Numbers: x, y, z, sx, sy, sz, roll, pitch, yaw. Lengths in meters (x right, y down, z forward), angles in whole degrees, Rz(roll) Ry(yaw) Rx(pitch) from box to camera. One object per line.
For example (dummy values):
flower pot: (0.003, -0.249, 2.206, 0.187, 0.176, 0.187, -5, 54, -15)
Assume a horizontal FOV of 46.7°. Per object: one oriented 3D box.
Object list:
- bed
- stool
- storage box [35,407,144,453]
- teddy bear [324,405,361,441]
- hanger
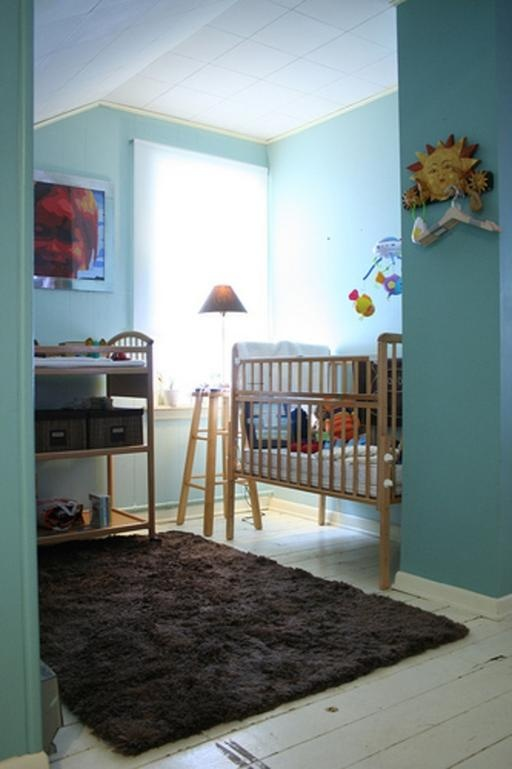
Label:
bed: (0.234, 0.231, 2.720, 0.698, 1.054, 1.077, 0, -1, -26)
stool: (-0.279, 0.411, 3.297, 0.417, 0.737, 0.412, 4, 0, -20)
storage box: (-0.772, 0.211, 2.730, 0.228, 0.121, 0.312, -2, -2, 42)
teddy bear: (0.378, 0.174, 2.599, 0.115, 0.153, 0.112, -25, -5, 6)
hanger: (0.682, -0.575, 2.075, 0.088, 0.208, 0.372, -29, 27, -21)
